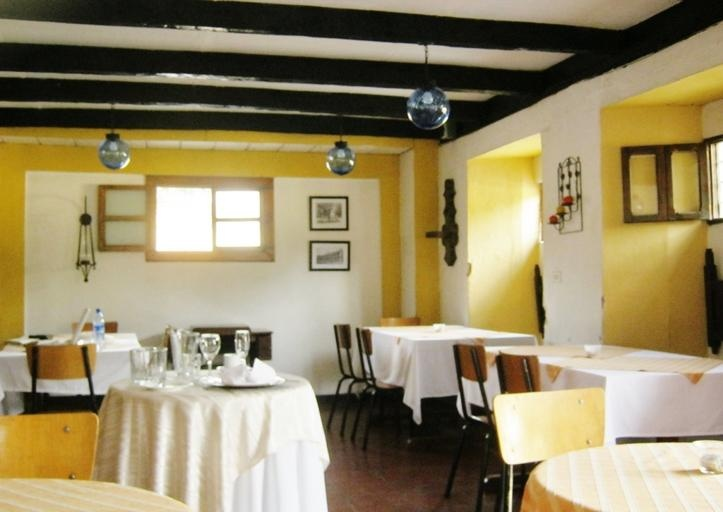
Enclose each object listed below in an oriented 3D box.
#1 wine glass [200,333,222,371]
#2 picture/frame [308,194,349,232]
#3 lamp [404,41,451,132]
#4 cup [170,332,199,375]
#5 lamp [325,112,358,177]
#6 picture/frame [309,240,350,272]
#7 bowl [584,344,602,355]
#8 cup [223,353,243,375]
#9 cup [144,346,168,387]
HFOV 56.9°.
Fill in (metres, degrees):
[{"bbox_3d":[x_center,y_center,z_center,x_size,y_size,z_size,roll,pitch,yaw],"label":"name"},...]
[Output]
[{"bbox_3d":[-0.918,0.585,4.018,0.118,0.280,0.425,0,2,-13],"label":"wine glass"},{"bbox_3d":[-0.410,-0.500,7.852,0.414,0.356,0.037,2,-7,-18],"label":"picture/frame"},{"bbox_3d":[0.487,-1.260,4.902,0.279,0.629,0.286,6,20,20],"label":"lamp"},{"bbox_3d":[-1.040,0.568,3.916,0.161,0.260,0.310,0,2,-16],"label":"cup"},{"bbox_3d":[-0.190,-1.059,6.313,0.358,0.612,0.366,0,2,-12],"label":"lamp"},{"bbox_3d":[-0.397,0.004,7.836,0.354,0.267,0.017,1,-6,-22],"label":"picture/frame"},{"bbox_3d":[1.626,0.667,4.689,0.086,0.068,0.089,0,3,0],"label":"bowl"},{"bbox_3d":[-0.713,0.619,3.762,0.114,0.087,0.087,-1,1,-27],"label":"cup"},{"bbox_3d":[-1.150,0.634,3.731,0.137,0.232,0.144,-3,-9,0],"label":"cup"}]
